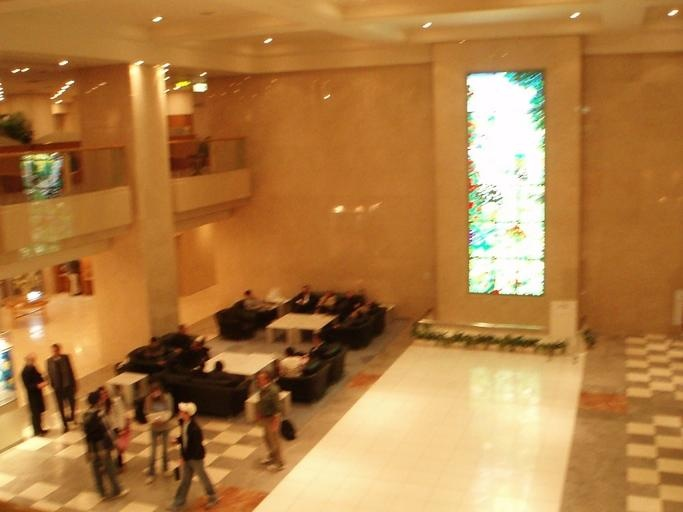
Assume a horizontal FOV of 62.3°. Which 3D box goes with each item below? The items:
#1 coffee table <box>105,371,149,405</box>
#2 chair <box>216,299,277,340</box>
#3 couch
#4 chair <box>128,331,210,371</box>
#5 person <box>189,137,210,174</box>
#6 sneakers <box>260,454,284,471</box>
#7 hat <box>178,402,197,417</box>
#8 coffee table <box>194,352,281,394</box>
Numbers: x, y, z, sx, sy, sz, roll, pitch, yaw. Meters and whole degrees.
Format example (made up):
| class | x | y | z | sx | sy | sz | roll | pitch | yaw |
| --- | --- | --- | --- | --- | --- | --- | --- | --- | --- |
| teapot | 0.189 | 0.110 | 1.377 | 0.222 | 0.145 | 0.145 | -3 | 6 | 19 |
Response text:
| class | x | y | z | sx | sy | sz | roll | pitch | yaw |
| --- | --- | --- | --- | --- | --- | --- | --- | --- | --- |
| coffee table | -4.054 | 2.416 | 10.846 | 0.653 | 0.536 | 0.608 | 3 | 24 | 30 |
| chair | -2.155 | 1.365 | 12.555 | 0.546 | 0.390 | 1.071 | 9 | 24 | 17 |
| couch | -2.336 | 2.387 | 10.524 | 1.945 | 0.630 | 0.768 | 5 | 22 | 19 |
| chair | -3.356 | 1.906 | 11.143 | 1.146 | 0.343 | 0.865 | -6 | 10 | -40 |
| person | -3.131 | -2.223 | 12.634 | 0.208 | 0.765 | 0.657 | -5 | 7 | -36 |
| sneakers | -1.051 | 3.048 | 8.488 | 0.422 | 0.221 | 0.189 | 1 | 5 | 21 |
| hat | -2.021 | 2.012 | 7.444 | 0.146 | 0.211 | 0.294 | -1 | 5 | -2 |
| coffee table | -1.971 | 2.210 | 10.626 | 0.782 | 0.387 | 0.705 | 5 | 18 | 16 |
